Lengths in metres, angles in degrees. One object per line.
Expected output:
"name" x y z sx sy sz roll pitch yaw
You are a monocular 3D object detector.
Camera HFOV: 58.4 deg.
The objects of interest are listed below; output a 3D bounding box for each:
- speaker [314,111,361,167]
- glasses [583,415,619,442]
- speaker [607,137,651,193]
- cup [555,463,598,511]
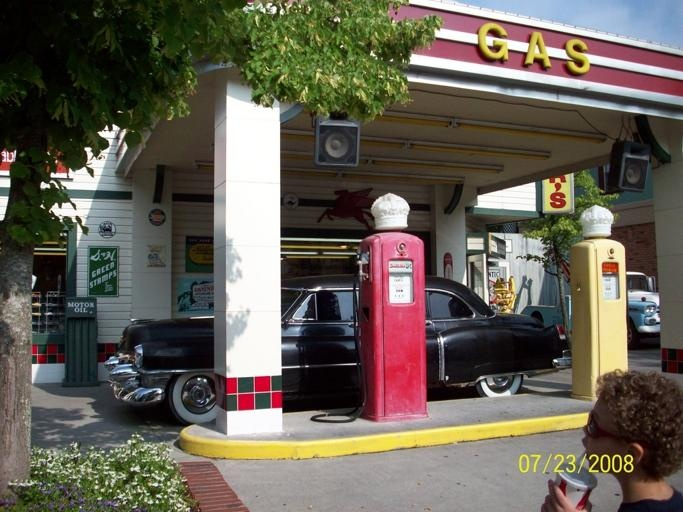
"speaker" -0.083 -1.478 8.053 0.604 1.104 0.578 1 1 -12
"glasses" 1.112 0.732 2.624 0.091 0.031 0.096 16 -6 6
"speaker" 4.665 -1.501 10.002 0.711 0.746 0.388 -1 -1 -15
"cup" 0.997 0.971 2.609 0.150 0.139 0.168 0 3 -2
